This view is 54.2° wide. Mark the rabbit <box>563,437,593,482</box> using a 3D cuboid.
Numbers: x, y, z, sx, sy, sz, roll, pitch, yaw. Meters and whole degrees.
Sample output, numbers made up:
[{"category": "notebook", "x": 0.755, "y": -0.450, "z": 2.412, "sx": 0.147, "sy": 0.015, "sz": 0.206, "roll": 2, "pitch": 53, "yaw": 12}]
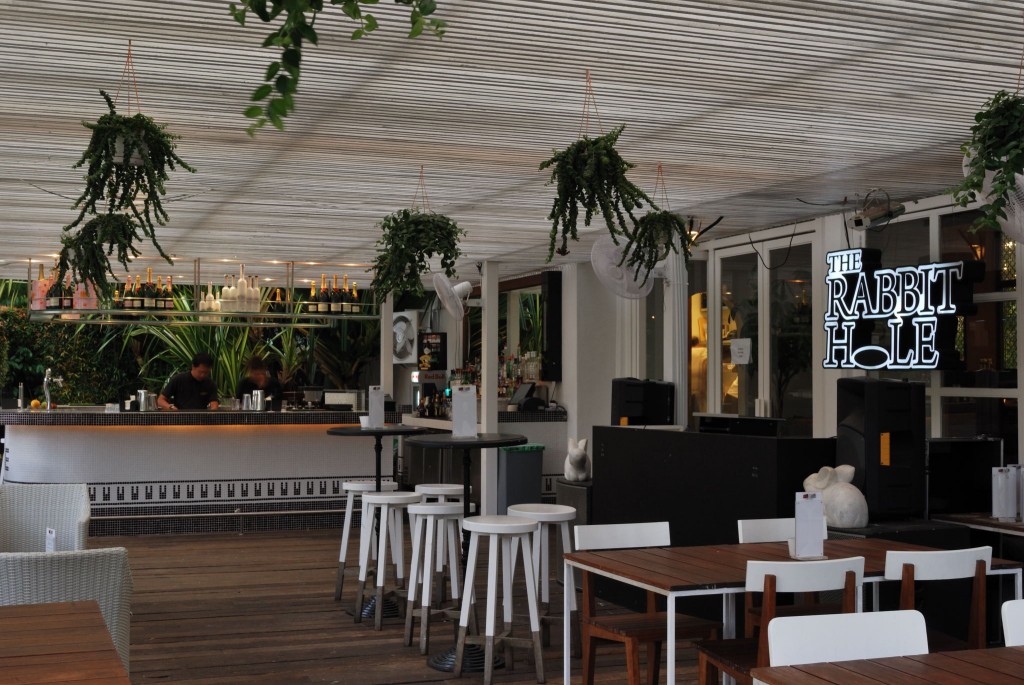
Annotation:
[{"category": "rabbit", "x": 0.564, "y": 1.123, "z": 9.366, "sx": 0.226, "sy": 0.312, "sz": 0.400, "roll": 1, "pitch": -12, "yaw": -4}]

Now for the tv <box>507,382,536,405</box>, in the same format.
[{"category": "tv", "x": 0.138, "y": 0.714, "z": 13.665, "sx": 0.367, "sy": 0.319, "sz": 0.476, "roll": 0, "pitch": 1, "yaw": 2}]

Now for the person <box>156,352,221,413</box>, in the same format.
[{"category": "person", "x": -4.088, "y": 0.500, "z": 12.578, "sx": 0.822, "sy": 0.757, "sz": 0.630, "roll": 3, "pitch": 1, "yaw": -26}]

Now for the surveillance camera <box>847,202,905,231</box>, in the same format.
[{"category": "surveillance camera", "x": 3.355, "y": -1.173, "z": 9.123, "sx": 0.468, "sy": 0.185, "sz": 0.259, "roll": -9, "pitch": 2, "yaw": -34}]

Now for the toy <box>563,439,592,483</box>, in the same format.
[{"category": "toy", "x": 0.610, "y": 1.092, "z": 9.352, "sx": 0.218, "sy": 0.386, "sz": 0.227, "roll": 1, "pitch": 2, "yaw": 7}]

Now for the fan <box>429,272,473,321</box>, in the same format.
[{"category": "fan", "x": -0.510, "y": -0.469, "z": 9.322, "sx": 0.291, "sy": 0.433, "sz": 0.450, "roll": -30, "pitch": 22, "yaw": -20}]

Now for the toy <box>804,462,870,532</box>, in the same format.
[{"category": "toy", "x": 2.218, "y": 1.082, "z": 7.104, "sx": 0.430, "sy": 0.503, "sz": 0.569, "roll": 0, "pitch": 1, "yaw": -3}]

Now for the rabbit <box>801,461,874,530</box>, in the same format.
[{"category": "rabbit", "x": 2.250, "y": 1.037, "z": 6.941, "sx": 0.432, "sy": 0.543, "sz": 0.568, "roll": 1, "pitch": 1, "yaw": -7}]

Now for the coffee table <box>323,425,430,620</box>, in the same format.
[{"category": "coffee table", "x": -1.208, "y": 1.546, "z": 8.967, "sx": 0.975, "sy": 1.653, "sz": 0.987, "roll": 2, "pitch": -4, "yaw": -20}]

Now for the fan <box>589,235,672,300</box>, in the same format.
[{"category": "fan", "x": 0.933, "y": -0.641, "z": 8.593, "sx": 0.810, "sy": 0.506, "sz": 0.503, "roll": -3, "pitch": 1, "yaw": 38}]
